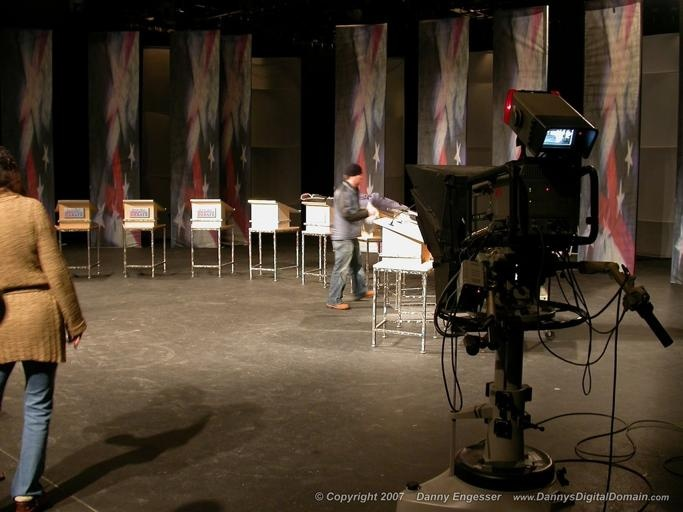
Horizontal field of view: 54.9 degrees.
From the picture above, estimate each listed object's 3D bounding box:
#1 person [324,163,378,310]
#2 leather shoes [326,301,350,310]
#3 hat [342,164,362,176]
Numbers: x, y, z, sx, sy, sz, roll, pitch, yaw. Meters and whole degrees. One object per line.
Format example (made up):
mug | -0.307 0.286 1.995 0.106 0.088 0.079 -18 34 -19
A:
person | 0.086 -0.231 8.296 0.535 1.832 0.912 0 8 -1
leather shoes | -0.039 0.635 8.414 0.224 0.109 0.112 -2 0 10
hat | 0.145 -1.050 7.990 0.175 0.182 0.138 -7 9 -6
